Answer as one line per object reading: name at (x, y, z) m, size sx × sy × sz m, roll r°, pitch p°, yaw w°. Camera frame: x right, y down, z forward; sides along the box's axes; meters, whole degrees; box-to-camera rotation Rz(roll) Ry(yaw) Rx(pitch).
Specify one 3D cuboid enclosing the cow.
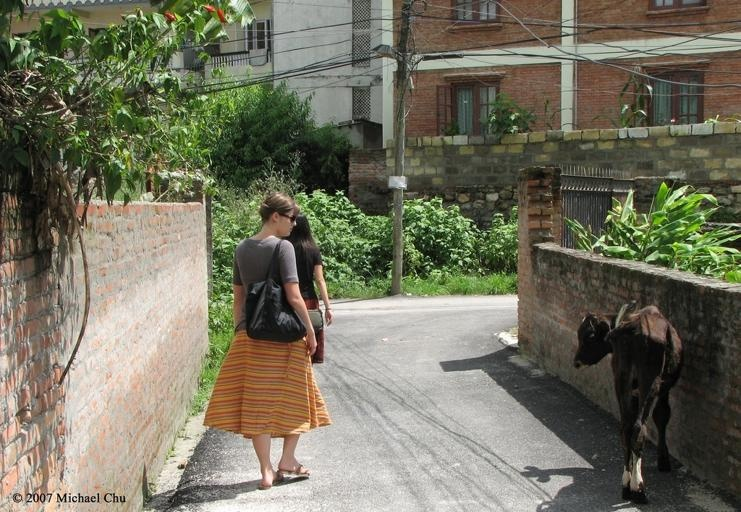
cow at (2.162, 1.142, 6.296) m, size 0.783 × 1.501 × 0.683 m, roll -7°, pitch 9°, yaw -44°

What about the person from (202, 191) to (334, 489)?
person at (-0.868, 0.713, 6.426) m, size 0.998 × 2.453 × 0.502 m, roll -1°, pitch 7°, yaw -4°

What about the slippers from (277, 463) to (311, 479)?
slippers at (-0.673, 1.873, 6.559) m, size 0.229 × 0.094 × 0.132 m, roll 2°, pitch -1°, yaw -13°

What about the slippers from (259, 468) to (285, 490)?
slippers at (-0.830, 1.893, 6.421) m, size 0.105 × 0.163 × 0.238 m, roll 4°, pitch 9°, yaw 29°

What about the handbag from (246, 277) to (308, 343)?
handbag at (-0.791, 0.459, 6.224) m, size 0.463 × 0.594 × 0.249 m, roll 0°, pitch -3°, yaw -13°

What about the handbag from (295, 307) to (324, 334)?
handbag at (-0.597, 0.622, 7.305) m, size 0.276 × 0.188 × 0.277 m, roll -1°, pitch -4°, yaw -3°
